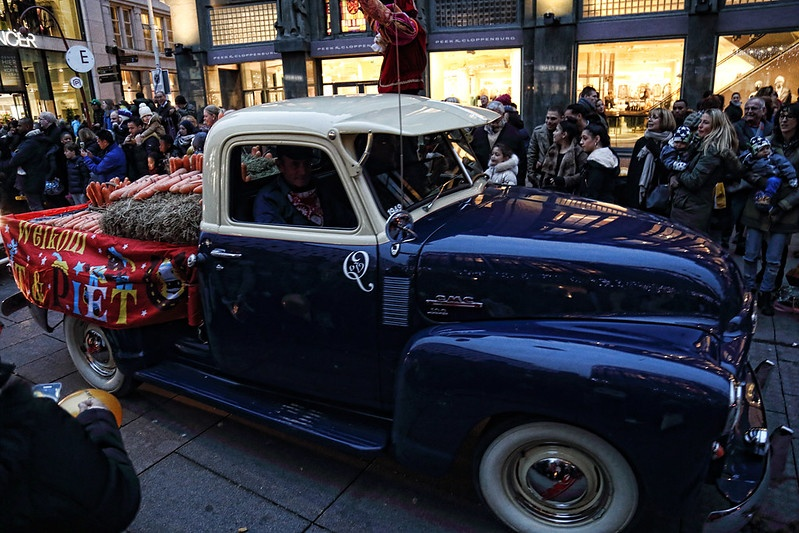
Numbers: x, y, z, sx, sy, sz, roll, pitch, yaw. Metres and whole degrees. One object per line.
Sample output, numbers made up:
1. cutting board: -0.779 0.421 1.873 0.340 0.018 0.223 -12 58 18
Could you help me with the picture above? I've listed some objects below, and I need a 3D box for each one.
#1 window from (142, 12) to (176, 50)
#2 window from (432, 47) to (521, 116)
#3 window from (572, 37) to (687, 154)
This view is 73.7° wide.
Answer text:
1. window: -16.245 -15.624 35.898 3.965 2.345 0.141 23 28 30
2. window: 2.245 -5.810 15.972 3.130 2.208 0.125 8 36 25
3. window: 6.510 -4.590 14.993 3.180 3.539 0.156 10 47 28
